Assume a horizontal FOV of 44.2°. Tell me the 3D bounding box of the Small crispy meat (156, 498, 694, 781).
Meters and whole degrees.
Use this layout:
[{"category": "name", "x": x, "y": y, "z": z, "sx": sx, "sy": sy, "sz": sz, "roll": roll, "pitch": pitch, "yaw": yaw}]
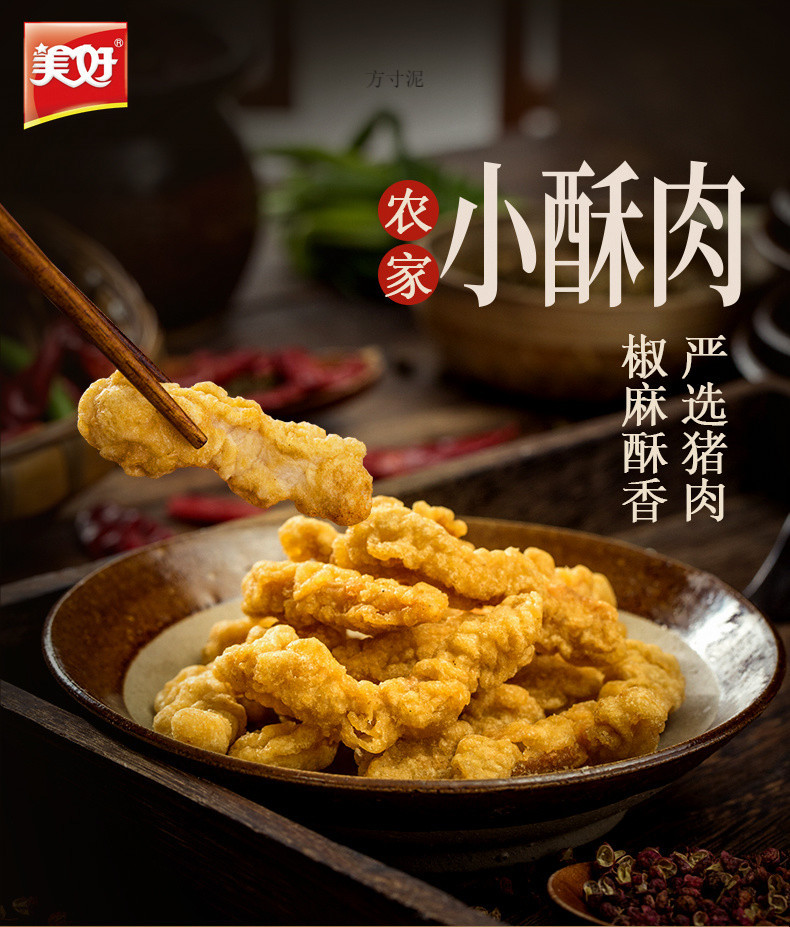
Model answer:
[{"category": "Small crispy meat", "x": 0.036, "y": 0.286, "z": 1.400, "sx": 0.633, "sy": 0.175, "sz": 0.508, "roll": 3, "pitch": 8, "yaw": 12}]
